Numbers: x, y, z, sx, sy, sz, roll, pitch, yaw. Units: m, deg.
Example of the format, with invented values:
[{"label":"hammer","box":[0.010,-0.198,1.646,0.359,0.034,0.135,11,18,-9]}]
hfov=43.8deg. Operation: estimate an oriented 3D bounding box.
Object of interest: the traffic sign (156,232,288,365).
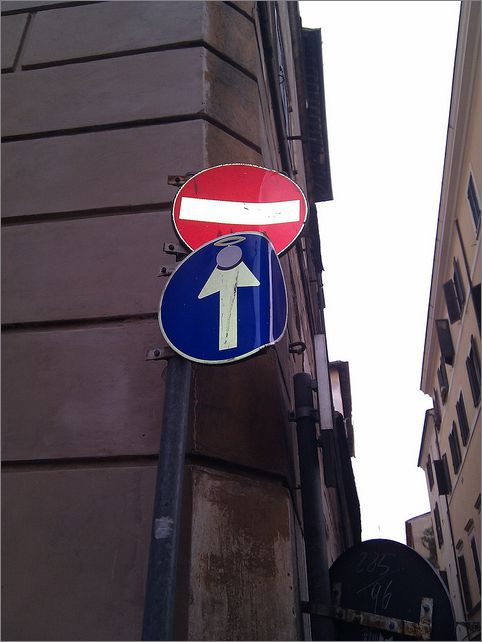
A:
[{"label":"traffic sign","box":[-0.043,-0.102,2.059,0.416,0.675,0.092,-8,-46,9]}]

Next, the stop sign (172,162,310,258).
[{"label":"stop sign","box":[-0.020,-0.522,2.777,0.701,0.850,0.116,1,-39,-10]}]
